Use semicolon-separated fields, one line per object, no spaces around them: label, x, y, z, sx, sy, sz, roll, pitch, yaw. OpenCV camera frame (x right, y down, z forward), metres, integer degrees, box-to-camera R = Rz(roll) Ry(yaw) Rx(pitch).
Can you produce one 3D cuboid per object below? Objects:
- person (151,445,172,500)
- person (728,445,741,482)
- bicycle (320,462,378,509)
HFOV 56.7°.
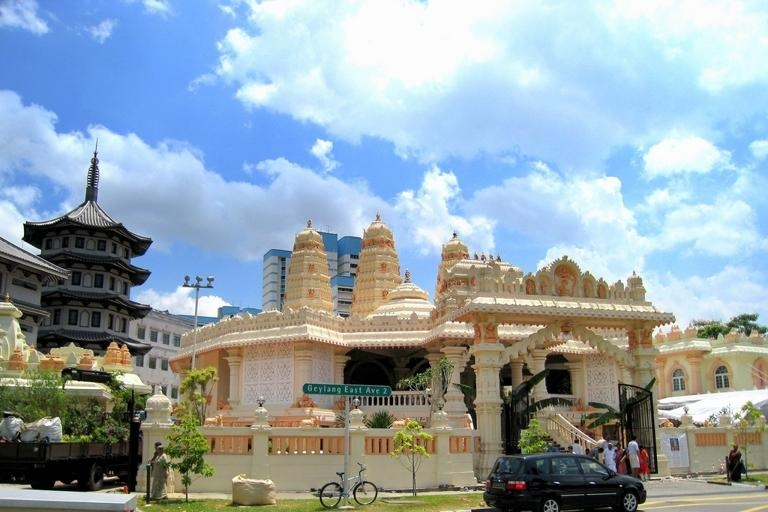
person;-7.679;7.362;24.396;0.606;1.858;1.042;6;-20;-16
person;14.826;8.834;30.299;0.626;1.472;1.148;-9;-21;24
bicycle;-1.228;7.815;24.308;2.380;1.465;1.181;-1;-10;-5
